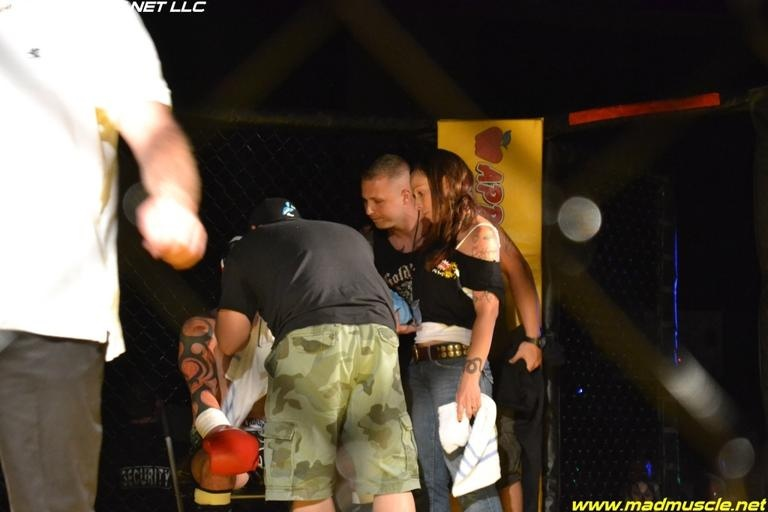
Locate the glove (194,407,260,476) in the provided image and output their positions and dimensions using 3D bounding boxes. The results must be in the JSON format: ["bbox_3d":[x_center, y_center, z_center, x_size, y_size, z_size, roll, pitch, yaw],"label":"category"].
[{"bbox_3d":[-1.026,1.141,4.949,0.298,0.185,0.446,4,20,-33],"label":"glove"}]
